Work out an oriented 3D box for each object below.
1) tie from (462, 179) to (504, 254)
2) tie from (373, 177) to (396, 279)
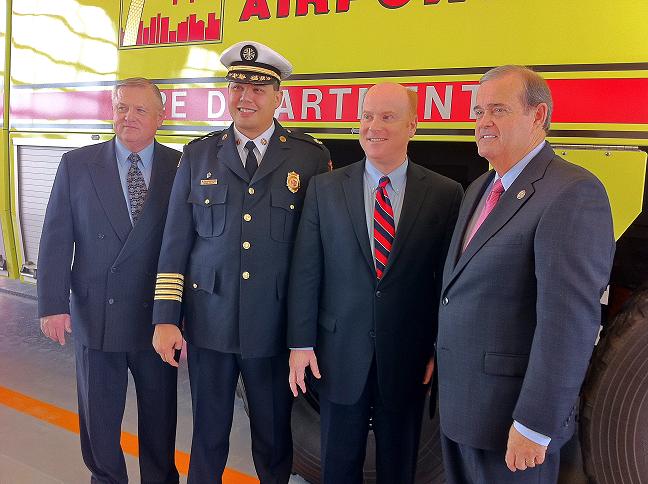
[{"bbox_3d":[0.655,-0.095,2.267,0.048,0.328,0.039,19,0,-13],"label":"tie"},{"bbox_3d":[0.273,-0.070,2.573,0.105,0.455,0.168,6,10,16],"label":"tie"}]
